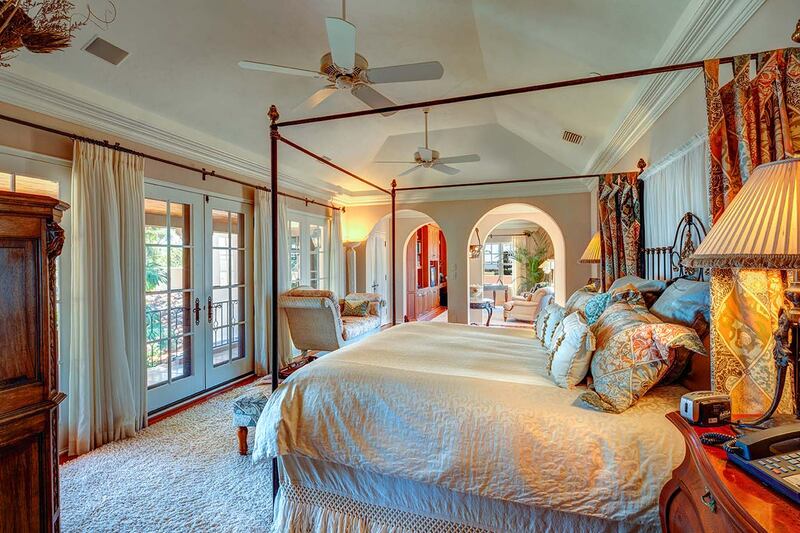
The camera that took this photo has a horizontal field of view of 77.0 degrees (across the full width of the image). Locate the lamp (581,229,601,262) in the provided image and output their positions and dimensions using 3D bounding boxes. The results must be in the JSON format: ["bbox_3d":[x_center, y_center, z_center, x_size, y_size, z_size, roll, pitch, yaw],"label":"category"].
[{"bbox_3d":[2.217,-0.232,5.816,0.311,0.350,0.320,2,-7,7],"label":"lamp"}]

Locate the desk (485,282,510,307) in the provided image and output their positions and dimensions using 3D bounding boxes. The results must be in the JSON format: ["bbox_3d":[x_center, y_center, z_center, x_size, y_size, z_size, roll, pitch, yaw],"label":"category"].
[{"bbox_3d":[2.490,0.676,12.966,0.653,0.637,0.506,-3,-6,42],"label":"desk"}]

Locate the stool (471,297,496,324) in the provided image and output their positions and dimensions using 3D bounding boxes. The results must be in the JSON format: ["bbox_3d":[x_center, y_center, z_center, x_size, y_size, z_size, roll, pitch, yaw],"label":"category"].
[{"bbox_3d":[1.411,0.701,8.983,0.502,0.373,0.739,2,1,23],"label":"stool"}]

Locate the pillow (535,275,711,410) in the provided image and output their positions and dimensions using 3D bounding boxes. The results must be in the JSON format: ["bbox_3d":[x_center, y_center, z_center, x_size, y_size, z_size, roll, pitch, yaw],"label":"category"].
[{"bbox_3d":[1.429,0.236,3.512,0.621,0.533,1.434,-9,1,9],"label":"pillow"}]
